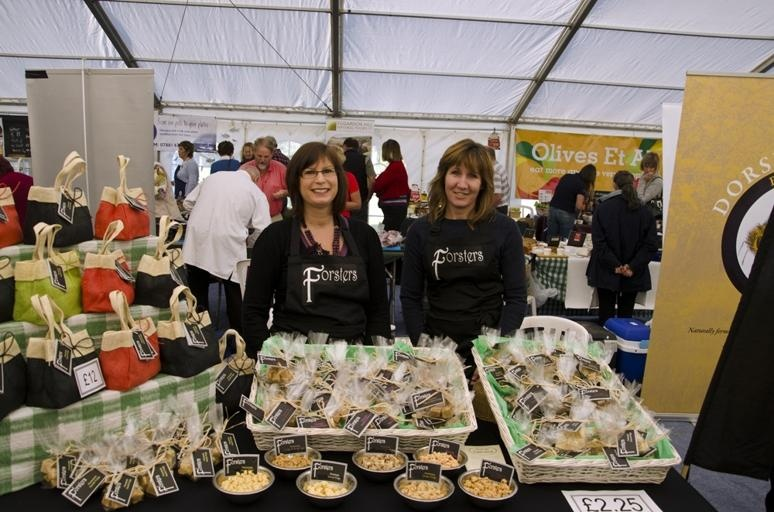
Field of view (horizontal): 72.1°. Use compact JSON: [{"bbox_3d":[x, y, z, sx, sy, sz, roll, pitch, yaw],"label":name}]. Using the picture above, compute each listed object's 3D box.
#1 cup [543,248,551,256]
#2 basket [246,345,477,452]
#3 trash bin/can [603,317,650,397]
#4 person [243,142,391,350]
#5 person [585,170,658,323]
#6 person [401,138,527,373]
[{"bbox_3d":[1.907,-0.050,6.337,0.095,0.074,0.097,-1,6,0],"label":"cup"},{"bbox_3d":[-0.128,0.627,2.454,0.730,0.204,0.549,0,32,-5],"label":"basket"},{"bbox_3d":[2.111,0.837,4.702,0.342,0.500,0.563,7,7,2],"label":"trash bin/can"},{"bbox_3d":[-0.426,-0.042,3.108,0.868,1.210,0.475,0,12,0],"label":"person"},{"bbox_3d":[2.583,-0.057,5.847,0.695,1.718,0.478,4,13,19],"label":"person"},{"bbox_3d":[0.483,-0.046,3.396,0.795,1.331,0.357,4,13,18],"label":"person"}]
